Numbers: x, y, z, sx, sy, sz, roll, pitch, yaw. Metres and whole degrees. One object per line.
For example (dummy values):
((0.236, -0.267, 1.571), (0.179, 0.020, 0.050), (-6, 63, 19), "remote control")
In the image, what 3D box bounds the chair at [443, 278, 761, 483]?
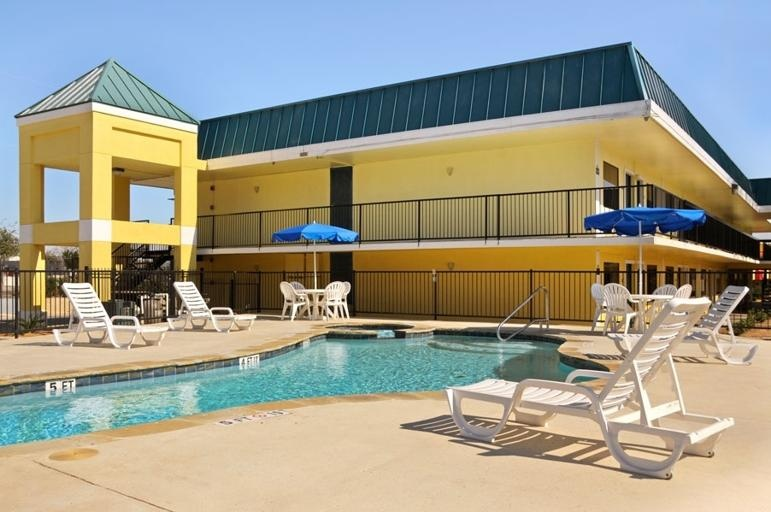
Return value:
((2.694, 1.456, 7.465), (3.542, 1.934, 1.836), (-3, -3, 37), "chair")

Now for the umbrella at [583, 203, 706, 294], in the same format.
((6.527, -0.090, 15.544), (2.934, 2.465, 2.886), (-1, -2, 9), "umbrella")

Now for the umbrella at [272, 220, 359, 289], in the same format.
((-2.447, -0.122, 20.654), (2.640, 2.257, 2.678), (0, 4, 31), "umbrella")
